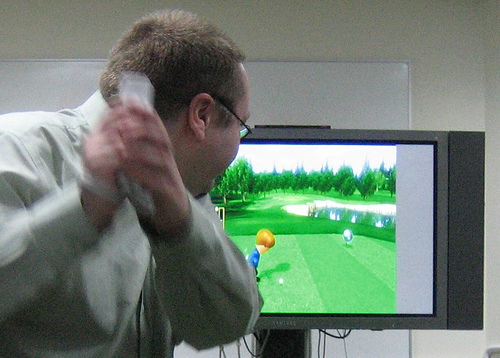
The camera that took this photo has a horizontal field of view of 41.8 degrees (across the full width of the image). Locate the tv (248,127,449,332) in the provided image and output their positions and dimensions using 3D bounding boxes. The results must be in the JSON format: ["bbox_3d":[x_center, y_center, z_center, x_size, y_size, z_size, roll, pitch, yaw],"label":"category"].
[{"bbox_3d":[0.417,0.218,2.796,0.745,0.734,0.058,2,-2,-7],"label":"tv"}]

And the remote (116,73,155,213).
[{"bbox_3d":[-0.354,-0.098,2.037,0.134,0.561,0.051,-7,45,-17],"label":"remote"}]
